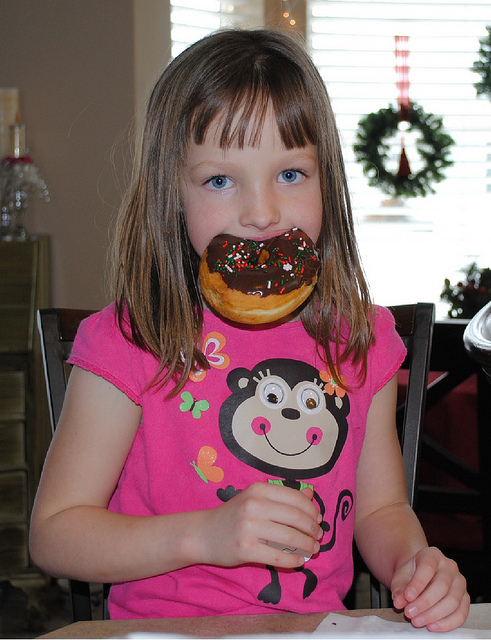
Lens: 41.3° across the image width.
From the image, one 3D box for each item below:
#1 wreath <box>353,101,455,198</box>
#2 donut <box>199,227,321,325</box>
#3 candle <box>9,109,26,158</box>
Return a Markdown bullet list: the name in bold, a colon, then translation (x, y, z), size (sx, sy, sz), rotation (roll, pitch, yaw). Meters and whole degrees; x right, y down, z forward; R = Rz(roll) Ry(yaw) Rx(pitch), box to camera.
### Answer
- **wreath**: translation (0.887, -0.940, 3.825), size (0.645, 0.555, 0.600), rotation (2, 11, 10)
- **donut**: translation (0.019, -0.072, 0.925), size (0.168, 0.063, 0.157), rotation (4, 46, 7)
- **candle**: translation (-1.051, -0.858, 2.989), size (0.082, 0.235, 0.267), rotation (-8, 13, -16)
